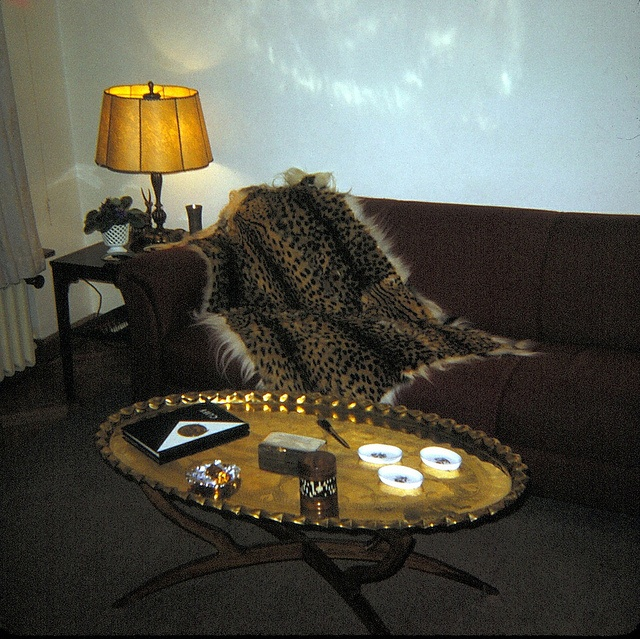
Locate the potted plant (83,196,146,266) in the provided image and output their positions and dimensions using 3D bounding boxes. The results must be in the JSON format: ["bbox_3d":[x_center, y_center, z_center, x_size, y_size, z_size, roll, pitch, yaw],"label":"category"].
[{"bbox_3d":[-0.874,-0.394,2.495,0.278,0.227,0.262,2,10,28],"label":"potted plant"}]
